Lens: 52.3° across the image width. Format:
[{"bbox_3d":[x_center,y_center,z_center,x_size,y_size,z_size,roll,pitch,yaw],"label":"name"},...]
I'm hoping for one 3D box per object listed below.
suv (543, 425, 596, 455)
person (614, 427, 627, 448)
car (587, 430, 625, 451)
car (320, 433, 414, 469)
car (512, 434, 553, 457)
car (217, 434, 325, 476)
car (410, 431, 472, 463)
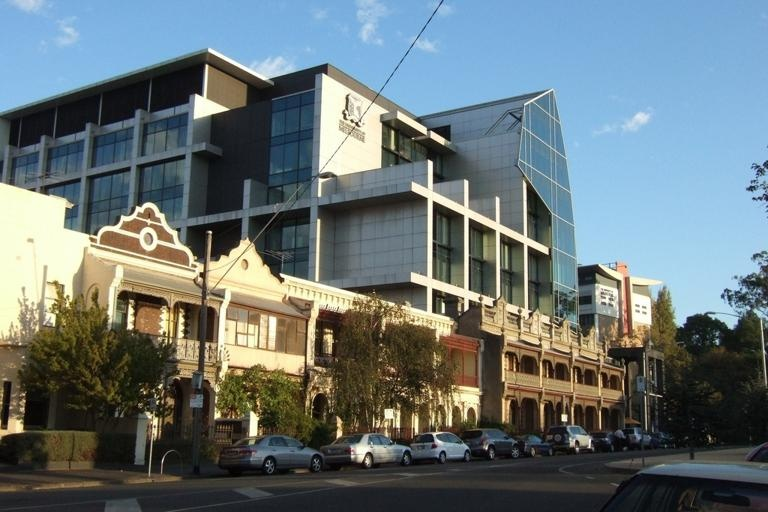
[{"bbox_3d":[13.207,13.201,56.103,1.967,1.988,4.283,-14,-23,40],"label":"suv"},{"bbox_3d":[18.209,14.258,60.228,0.901,0.836,1.561,-4,-4,25],"label":"person"},{"bbox_3d":[16.770,13.989,58.838,1.410,1.163,3.070,-4,-7,32],"label":"car"},{"bbox_3d":[-0.920,9.903,39.771,4.912,1.761,0.982,13,-21,-34],"label":"car"},{"bbox_3d":[9.828,12.573,51.568,1.240,0.976,2.792,-5,-9,41],"label":"car"},{"bbox_3d":[-5.175,9.118,36.390,4.294,1.409,1.908,7,-13,-40],"label":"car"},{"bbox_3d":[3.152,10.873,44.557,2.930,1.351,1.719,6,-10,-44],"label":"car"}]
